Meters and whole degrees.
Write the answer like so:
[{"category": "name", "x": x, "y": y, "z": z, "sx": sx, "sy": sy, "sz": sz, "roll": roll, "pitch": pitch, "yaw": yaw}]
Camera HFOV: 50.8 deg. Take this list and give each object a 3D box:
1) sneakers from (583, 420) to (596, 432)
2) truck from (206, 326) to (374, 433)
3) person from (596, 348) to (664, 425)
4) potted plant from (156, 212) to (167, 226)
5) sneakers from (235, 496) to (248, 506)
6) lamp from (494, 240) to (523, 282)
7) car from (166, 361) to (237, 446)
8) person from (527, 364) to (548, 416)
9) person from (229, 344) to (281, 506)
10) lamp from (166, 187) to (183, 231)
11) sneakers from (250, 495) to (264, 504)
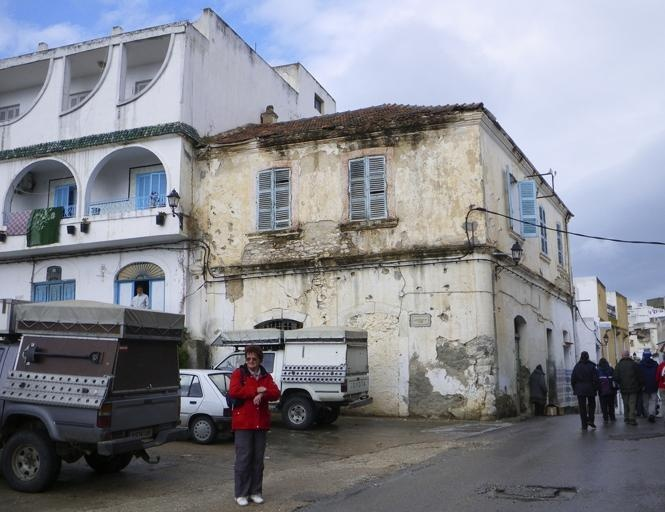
[{"category": "sneakers", "x": 6.276, "y": 4.169, "z": 16.996, "sx": 0.220, "sy": 0.320, "sz": 0.694, "roll": -15, "pitch": -29, "yaw": 21}, {"category": "truck", "x": -0.980, "y": 3.295, "z": 18.407, "sx": 3.712, "sy": 2.422, "sz": 2.308, "roll": -2, "pitch": -13, "yaw": 19}, {"category": "person", "x": 7.916, "y": 3.414, "z": 18.135, "sx": 0.875, "sy": 1.887, "sz": 1.491, "roll": -11, "pitch": -15, "yaw": 38}, {"category": "potted plant", "x": -5.535, "y": -1.200, "z": 22.623, "sx": 0.320, "sy": 0.409, "sz": 0.365, "roll": 3, "pitch": -2, "yaw": 3}, {"category": "sneakers", "x": -1.325, "y": 3.634, "z": 10.307, "sx": 0.074, "sy": 0.105, "sz": 0.219, "roll": 9, "pitch": -21, "yaw": -35}, {"category": "lamp", "x": 5.381, "y": 0.193, "z": 21.124, "sx": 0.703, "sy": 1.199, "sz": 1.910, "roll": -7, "pitch": -13, "yaw": 22}, {"category": "car", "x": -2.727, "y": 3.266, "z": 15.332, "sx": 1.855, "sy": 1.084, "sz": 1.157, "roll": -1, "pitch": -7, "yaw": 17}, {"category": "person", "x": 6.526, "y": 4.295, "z": 22.156, "sx": 0.512, "sy": 1.573, "sz": 0.820, "roll": -5, "pitch": -12, "yaw": 15}, {"category": "person", "x": -1.201, "y": 2.559, "z": 10.599, "sx": 0.724, "sy": 2.334, "sz": 0.490, "roll": 2, "pitch": -12, "yaw": -17}, {"category": "lamp", "x": -5.054, "y": -1.517, "z": 22.527, "sx": 0.429, "sy": 1.264, "sz": 0.810, "roll": -1, "pitch": -12, "yaw": -3}, {"category": "sneakers", "x": -1.112, "y": 3.649, "z": 10.430, "sx": 0.091, "sy": 0.086, "sz": 0.185, "roll": 2, "pitch": -18, "yaw": -35}]
